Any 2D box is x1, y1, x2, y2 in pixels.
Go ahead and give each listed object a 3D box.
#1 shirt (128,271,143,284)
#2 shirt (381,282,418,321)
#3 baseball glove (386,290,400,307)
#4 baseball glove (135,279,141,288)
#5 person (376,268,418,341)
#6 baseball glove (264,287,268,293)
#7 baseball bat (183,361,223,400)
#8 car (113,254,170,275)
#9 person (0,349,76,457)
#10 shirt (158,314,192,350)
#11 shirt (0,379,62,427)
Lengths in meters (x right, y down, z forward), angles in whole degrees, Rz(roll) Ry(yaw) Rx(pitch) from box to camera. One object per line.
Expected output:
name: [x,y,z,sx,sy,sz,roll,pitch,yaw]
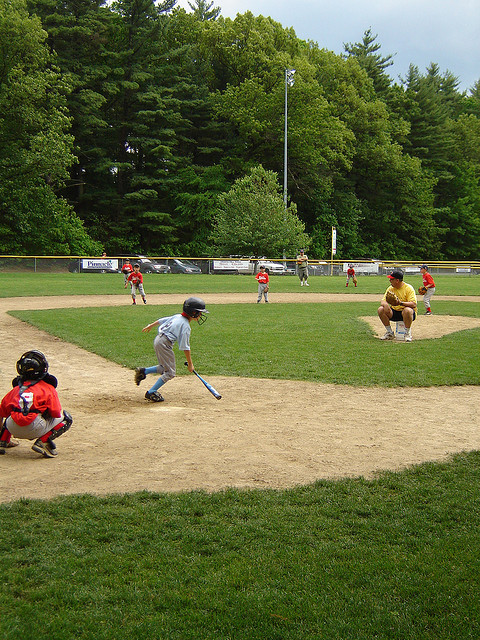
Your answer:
shirt: [-2.768,-1.087,21.853,0.330,0.186,0.427,4,11,1]
shirt: [2.785,-0.378,14.409,0.574,0.448,0.326,-5,-9,32]
baseball glove: [2.633,-0.350,14.288,0.253,0.072,0.250,27,-11,26]
baseball glove: [-2.696,-0.957,21.806,0.137,0.180,0.175,8,13,-1]
person: [2.808,-0.280,14.816,0.698,1.272,2.076,3,6,11]
baseball glove: [0.700,-0.848,23.247,0.087,0.121,0.215,1,-4,4]
baseball bat: [-0.461,0.773,10.178,0.105,0.073,0.680,-30,51,-25]
car: [-5.622,-2.903,47.266,3.285,1.283,1.603,0,8,0]
person: [-1.708,0.701,6.790,0.574,0.896,0.438,1,7,-3]
shirt: [-0.710,0.144,8.994,0.193,0.275,0.535,1,22,-37]
shirt: [-1.683,0.648,6.765,0.619,0.460,0.346,1,14,-5]
